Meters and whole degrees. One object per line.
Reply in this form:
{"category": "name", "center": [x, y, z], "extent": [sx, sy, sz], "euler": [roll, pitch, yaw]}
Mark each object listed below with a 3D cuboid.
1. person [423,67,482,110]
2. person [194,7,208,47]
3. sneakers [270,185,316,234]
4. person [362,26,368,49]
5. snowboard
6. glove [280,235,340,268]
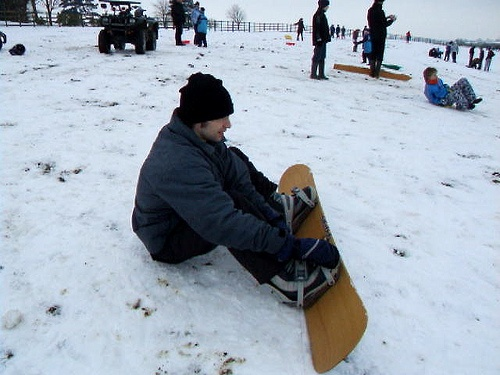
{"category": "person", "center": [3.583, -1.774, 7.336], "extent": [1.048, 0.922, 0.662], "euler": [7, 35, 30]}
{"category": "person", "center": [-1.519, -4.926, 12.744], "extent": [0.330, 0.987, 0.671], "euler": [-2, 24, -13]}
{"category": "sneakers", "center": [0.362, 0.198, 3.370], "extent": [0.356, 0.165, 0.136], "euler": [-44, 31, -2]}
{"category": "person", "center": [3.189, -4.145, 11.250], "extent": [0.146, 0.536, 1.164], "euler": [9, 25, 12]}
{"category": "snowboard", "center": [0.525, 0.525, 3.157], "extent": [0.207, 0.392, 1.510], "euler": [32, 32, -32]}
{"category": "glove", "center": [0.420, 0.442, 2.962], "extent": [0.454, 0.227, 0.199], "euler": [2, 42, 6]}
